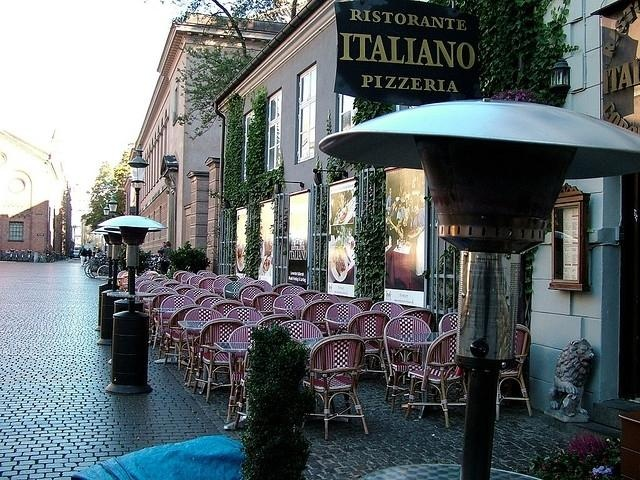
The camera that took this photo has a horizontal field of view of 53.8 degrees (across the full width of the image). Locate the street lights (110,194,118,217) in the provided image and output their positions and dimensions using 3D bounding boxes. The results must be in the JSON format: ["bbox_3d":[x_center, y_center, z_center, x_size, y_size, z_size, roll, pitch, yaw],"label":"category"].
[{"bbox_3d":[-6.877,-1.123,20.791,0.228,0.662,1.405,2,-4,-21],"label":"street lights"}]

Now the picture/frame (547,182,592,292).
[{"bbox_3d":[2.949,-0.040,7.440,0.160,1.229,0.503,3,-4,-41],"label":"picture/frame"}]
